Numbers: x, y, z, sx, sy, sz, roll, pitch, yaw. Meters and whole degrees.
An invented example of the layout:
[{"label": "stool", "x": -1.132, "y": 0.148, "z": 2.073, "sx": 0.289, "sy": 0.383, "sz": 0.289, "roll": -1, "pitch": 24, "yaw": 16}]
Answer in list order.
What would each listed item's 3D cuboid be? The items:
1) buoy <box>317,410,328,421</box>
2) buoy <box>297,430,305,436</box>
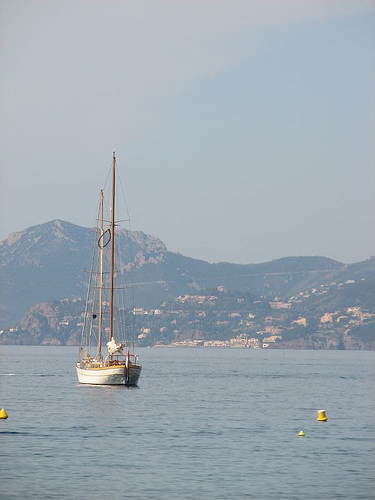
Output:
[{"label": "buoy", "x": 8.515, "y": 10.343, "z": 70.481, "sx": 0.658, "sy": 0.795, "sz": 0.692, "roll": 1, "pitch": 8, "yaw": -5}, {"label": "buoy", "x": 6.477, "y": 10.321, "z": 63.140, "sx": 0.217, "sy": 0.162, "sz": 0.351, "roll": 2, "pitch": 23, "yaw": 5}]
